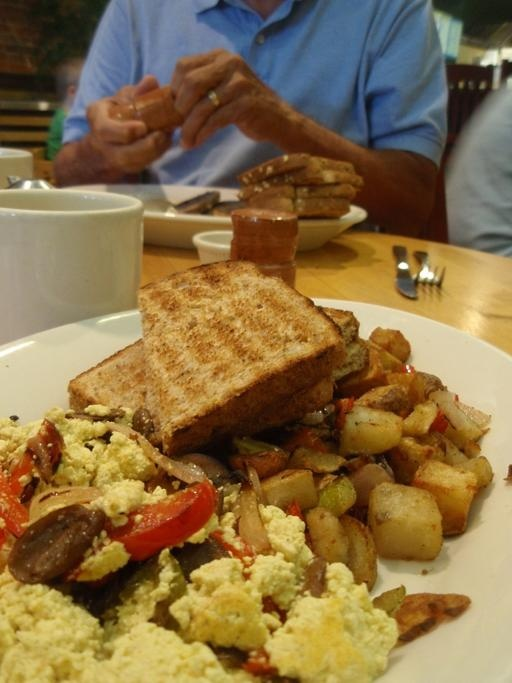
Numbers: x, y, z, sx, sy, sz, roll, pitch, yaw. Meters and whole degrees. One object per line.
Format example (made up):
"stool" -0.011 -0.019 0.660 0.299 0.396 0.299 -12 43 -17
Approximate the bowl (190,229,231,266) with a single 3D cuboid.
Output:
"bowl" -0.127 -0.283 1.764 0.139 0.062 0.140 -1 21 0

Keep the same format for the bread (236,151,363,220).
"bread" 0.186 -0.612 2.298 0.311 0.156 0.384 -3 -4 29

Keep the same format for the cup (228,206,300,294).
"cup" -0.004 -0.208 1.463 0.207 0.197 0.194 4 15 -1

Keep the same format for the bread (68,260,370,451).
"bread" -0.080 0.011 1.056 0.361 0.091 0.355 13 33 27
